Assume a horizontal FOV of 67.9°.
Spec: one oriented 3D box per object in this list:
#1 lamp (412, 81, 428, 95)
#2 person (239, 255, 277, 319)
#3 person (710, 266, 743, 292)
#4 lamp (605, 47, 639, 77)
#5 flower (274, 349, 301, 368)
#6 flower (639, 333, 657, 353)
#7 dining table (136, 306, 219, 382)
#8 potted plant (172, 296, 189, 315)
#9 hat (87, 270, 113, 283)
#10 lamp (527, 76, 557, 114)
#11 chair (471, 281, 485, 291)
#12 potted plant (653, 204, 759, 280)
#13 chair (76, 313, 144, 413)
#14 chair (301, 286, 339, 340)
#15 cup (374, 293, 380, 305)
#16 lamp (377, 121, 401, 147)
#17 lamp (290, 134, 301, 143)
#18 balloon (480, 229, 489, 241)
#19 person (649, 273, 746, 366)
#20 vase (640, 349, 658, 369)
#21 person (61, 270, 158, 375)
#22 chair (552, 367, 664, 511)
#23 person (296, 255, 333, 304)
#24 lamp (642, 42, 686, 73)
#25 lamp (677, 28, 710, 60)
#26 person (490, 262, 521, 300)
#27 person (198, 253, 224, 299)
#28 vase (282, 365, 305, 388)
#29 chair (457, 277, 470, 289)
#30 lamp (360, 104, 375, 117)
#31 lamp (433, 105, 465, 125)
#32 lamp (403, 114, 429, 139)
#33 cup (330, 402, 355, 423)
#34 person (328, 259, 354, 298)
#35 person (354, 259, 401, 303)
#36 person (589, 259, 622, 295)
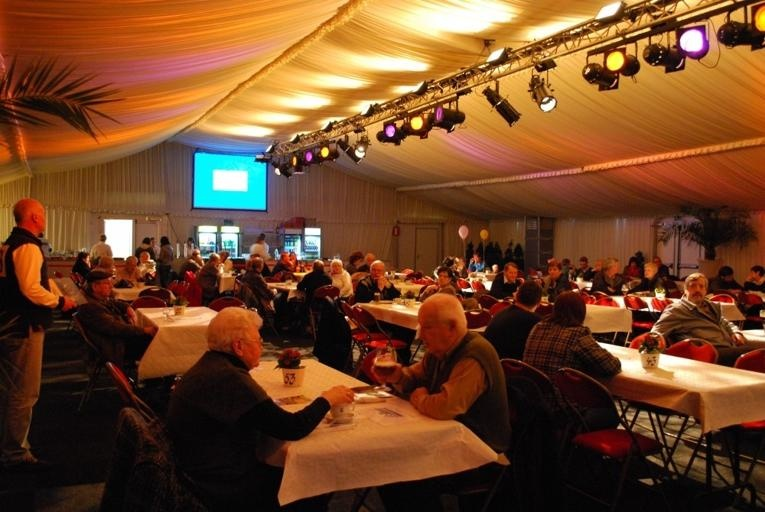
[{"bbox_3d":[0.753,-3.225,10.925,0.215,0.216,0.361,0,2,-32],"label":"lamp"},{"bbox_3d":[-2.306,0.650,10.629,0.747,1.308,0.635,-9,27,-30],"label":"person"},{"bbox_3d":[7.065,0.481,11.668,0.488,0.751,0.480,-2,-4,-6],"label":"person"},{"bbox_3d":[3.553,-2.812,8.368,0.468,0.283,0.386,-2,11,-42],"label":"lamp"},{"bbox_3d":[-0.686,0.766,4.059,0.155,0.086,0.155,6,13,15],"label":"flower"},{"bbox_3d":[2.158,0.700,4.573,0.134,0.163,0.128,-1,4,2],"label":"flower"},{"bbox_3d":[-2.533,0.818,6.702,0.959,0.406,1.512,-1,3,-27],"label":"dining table"},{"bbox_3d":[-2.437,0.615,6.889,0.197,0.188,0.194,4,-10,-6],"label":"potted plant"},{"bbox_3d":[-3.131,0.225,6.222,0.195,0.071,0.142,-7,4,-20],"label":"hat"},{"bbox_3d":[2.699,-2.751,9.581,0.404,0.574,0.238,2,2,22],"label":"lamp"},{"bbox_3d":[1.993,0.630,11.808,0.237,0.235,0.181,-3,-2,7],"label":"chair"},{"bbox_3d":[8.697,-0.369,15.281,1.806,1.537,1.774,4,-9,-22],"label":"potted plant"},{"bbox_3d":[-3.089,0.979,6.340,0.661,0.810,0.644,-17,24,-40],"label":"chair"},{"bbox_3d":[-0.961,0.816,9.557,0.457,0.770,0.560,0,12,-12],"label":"chair"},{"bbox_3d":[-0.092,0.609,8.342,0.122,0.169,0.118,0,-5,0],"label":"cup"},{"bbox_3d":[0.201,-2.704,12.454,0.764,0.454,0.290,2,2,44],"label":"lamp"},{"bbox_3d":[-2.634,-3.552,17.137,0.151,0.277,0.766,0,2,-20],"label":"lamp"},{"bbox_3d":[4.076,-0.846,22.712,0.441,0.440,0.281,4,46,-12],"label":"balloon"},{"bbox_3d":[3.524,0.665,6.039,1.107,0.842,0.884,-7,5,-38],"label":"person"},{"bbox_3d":[2.150,0.833,4.599,0.136,0.102,0.141,2,-12,-7],"label":"vase"},{"bbox_3d":[-3.015,0.849,6.456,0.800,1.421,0.636,-14,26,-33],"label":"person"},{"bbox_3d":[1.667,1.408,4.320,0.746,1.155,0.682,1,2,1],"label":"chair"},{"bbox_3d":[-1.188,0.470,10.052,0.637,0.862,0.512,-1,23,-33],"label":"person"},{"bbox_3d":[3.844,-2.680,7.680,0.489,0.300,0.413,5,4,-27],"label":"lamp"},{"bbox_3d":[4.088,-2.886,7.474,0.130,0.360,0.434,-10,35,-27],"label":"lamp"},{"bbox_3d":[2.132,0.442,9.886,0.389,0.734,0.472,-1,29,-18],"label":"person"},{"bbox_3d":[-3.593,0.458,11.696,0.424,0.977,0.628,1,2,-2],"label":"person"},{"bbox_3d":[-0.629,0.849,3.987,0.135,0.094,0.135,2,-6,-36],"label":"vase"},{"bbox_3d":[1.684,0.582,11.837,0.241,0.287,0.238,0,19,17],"label":"chair"},{"bbox_3d":[-0.313,-3.292,12.898,0.196,0.223,0.449,0,2,-27],"label":"lamp"},{"bbox_3d":[1.285,-2.729,10.968,0.550,0.342,0.377,-5,-4,-27],"label":"lamp"},{"bbox_3d":[0.741,-2.698,11.652,0.447,0.509,0.664,1,2,-1],"label":"lamp"},{"bbox_3d":[-0.246,0.967,3.509,0.129,0.087,0.121,-4,-8,-1],"label":"cup"},{"bbox_3d":[-0.859,0.460,10.824,0.520,0.755,0.537,1,7,42],"label":"person"},{"bbox_3d":[-0.185,0.399,8.980,0.525,0.632,0.778,1,10,20],"label":"person"},{"bbox_3d":[4.299,0.424,10.920,0.583,0.898,0.350,5,-6,-29],"label":"person"}]
